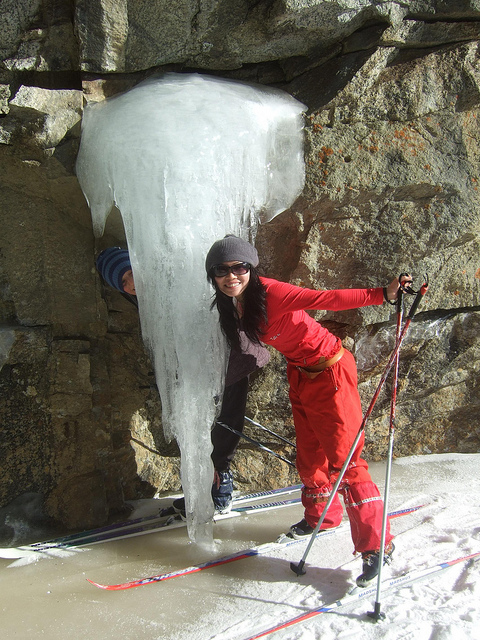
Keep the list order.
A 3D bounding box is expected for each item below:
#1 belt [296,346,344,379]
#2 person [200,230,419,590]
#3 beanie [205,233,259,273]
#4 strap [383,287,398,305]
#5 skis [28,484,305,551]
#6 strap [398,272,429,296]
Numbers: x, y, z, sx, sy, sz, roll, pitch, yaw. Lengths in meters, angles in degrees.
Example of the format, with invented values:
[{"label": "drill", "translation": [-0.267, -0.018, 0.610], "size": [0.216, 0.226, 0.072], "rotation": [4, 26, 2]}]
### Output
[{"label": "belt", "translation": [0.409, 0.209, 3.134], "size": [0.200, 0.154, 0.243], "rotation": [0, 5, 24]}, {"label": "person", "translation": [0.349, 0.387, 3.215], "size": [0.734, 1.804, 1.306], "rotation": [-15, 9, -27]}, {"label": "beanie", "translation": [-0.032, -0.330, 3.016], "size": [0.255, 0.171, 0.186], "rotation": [-11, 8, -18]}, {"label": "strap", "translation": [0.707, -0.107, 2.882], "size": [0.070, 0.070, 0.029], "rotation": [-2, 6, 9]}, {"label": "skis", "translation": [-0.477, 1.242, 3.805], "size": [1.748, 0.078, 0.171], "rotation": [-10, 14, -7]}, {"label": "strap", "translation": [0.795, -0.174, 2.878], "size": [0.106, 0.040, 0.128], "rotation": [23, -6, 17]}]
